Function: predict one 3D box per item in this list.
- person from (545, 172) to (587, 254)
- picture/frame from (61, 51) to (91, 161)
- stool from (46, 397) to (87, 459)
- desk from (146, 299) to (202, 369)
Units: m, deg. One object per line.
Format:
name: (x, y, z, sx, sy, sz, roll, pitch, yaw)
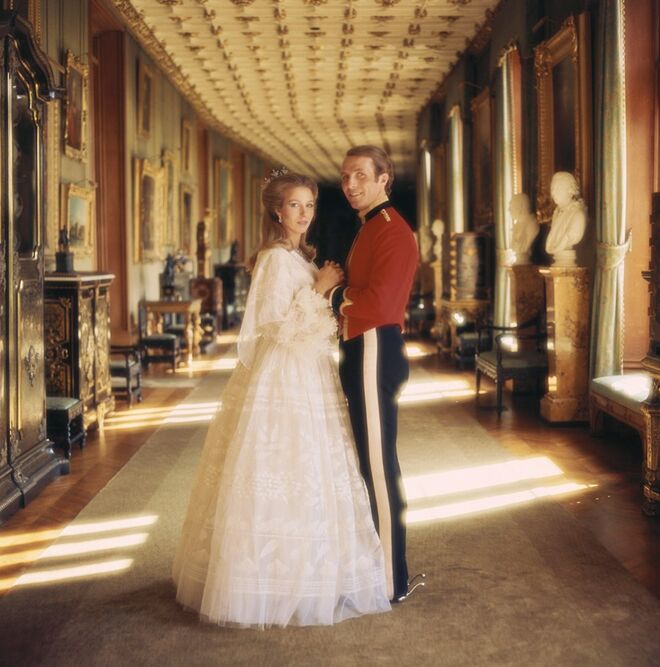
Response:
person: (2.093, -1.019, 6.297, 0.331, 0.819, 0.360, 0, 6, 22)
picture/frame: (-2.844, -2.528, 7.990, 0.183, 1.094, 0.941, -3, 6, -9)
stool: (-1.949, 0.656, 5.340, 0.297, 0.445, 0.568, 0, 2, -2)
desk: (-2.293, -0.211, 10.465, 0.730, 1.068, 1.248, 0, 2, 1)
